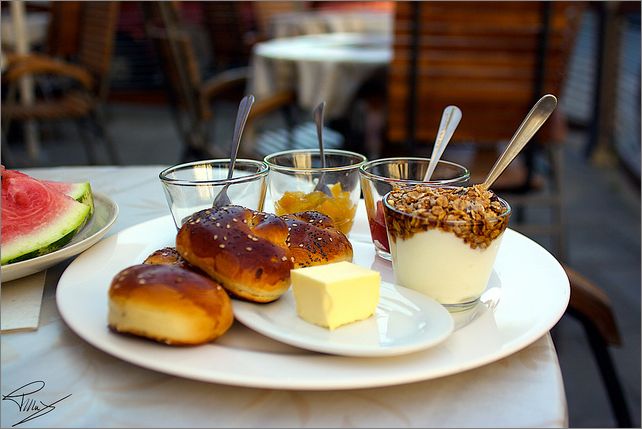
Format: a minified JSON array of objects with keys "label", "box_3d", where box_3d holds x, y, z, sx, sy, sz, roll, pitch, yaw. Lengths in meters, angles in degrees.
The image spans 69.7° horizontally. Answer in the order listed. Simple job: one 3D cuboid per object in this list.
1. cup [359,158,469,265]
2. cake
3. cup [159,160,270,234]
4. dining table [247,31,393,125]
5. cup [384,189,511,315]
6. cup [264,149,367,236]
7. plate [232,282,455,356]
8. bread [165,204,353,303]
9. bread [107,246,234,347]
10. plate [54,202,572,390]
[{"label":"cup","box_3d":[0.185,-0.023,0.884,0.185,0.189,0.188,-2,9,0]},{"label":"cake","box_3d":[0.187,0.046,0.749,0.201,0.152,0.178,0,15,-18]},{"label":"cup","box_3d":[-0.185,-0.060,0.802,0.153,0.094,0.155,0,15,0]},{"label":"dining table","box_3d":[-0.038,-0.787,2.527,0.862,0.458,0.877,-13,23,-37]},{"label":"cup","box_3d":[0.187,0.052,0.746,0.187,0.182,0.152,-5,12,-22]},{"label":"cup","box_3d":[-0.018,-0.054,0.954,0.192,0.136,0.189,-1,12,0]},{"label":"plate","box_3d":[0.052,0.109,0.648,0.219,0.061,0.255,-1,14,-45]},{"label":"bread","box_3d":[-0.093,0.048,0.666,0.177,0.056,0.180,20,19,31]},{"label":"bread","box_3d":[-0.190,0.109,0.584,0.127,0.043,0.111,15,23,-2]},{"label":"plate","box_3d":[-0.038,0.067,0.702,0.480,0.190,0.496,-4,6,-26]}]
